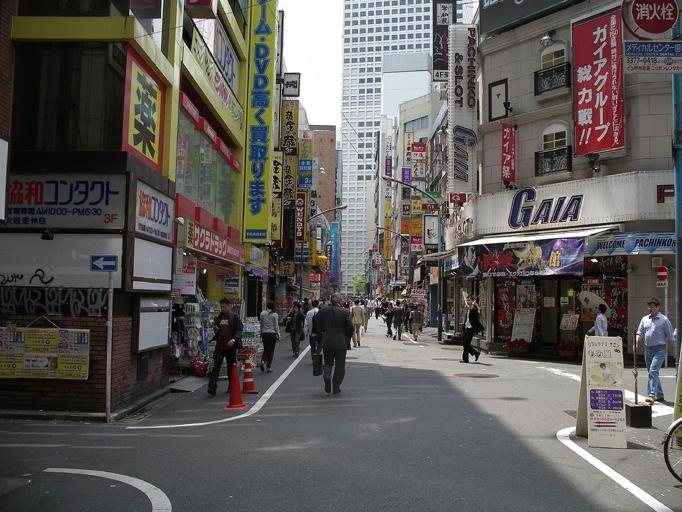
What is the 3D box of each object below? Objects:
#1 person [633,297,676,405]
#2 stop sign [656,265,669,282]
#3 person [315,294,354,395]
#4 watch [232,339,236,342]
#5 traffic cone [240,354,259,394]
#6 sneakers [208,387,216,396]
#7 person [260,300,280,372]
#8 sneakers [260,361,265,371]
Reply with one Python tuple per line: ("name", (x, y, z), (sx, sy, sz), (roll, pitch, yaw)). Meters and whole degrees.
("person", (6.701, 2.007, 14.625), (0.694, 2.206, 1.423), (0, -1, 25))
("stop sign", (10.153, 0.529, 21.604), (0.415, 0.645, 0.092), (-1, 7, 17))
("person", (-0.163, 1.981, 15.838), (0.877, 1.438, 1.419), (1, -1, 0))
("watch", (-2.418, 1.895, 15.449), (0.049, 0.058, 0.055), (2, -18, -7))
("traffic cone", (-2.124, 2.704, 15.787), (0.616, 1.025, 0.677), (-2, -2, -9))
("sneakers", (-2.915, 3.026, 15.423), (0.195, 0.140, 0.234), (1, -1, -9))
("person", (-2.060, 2.268, 19.761), (0.509, 1.392, 2.488), (1, -1, -6))
("sneakers", (-2.217, 3.126, 19.429), (0.085, 0.269, 0.103), (-3, 13, -7))
